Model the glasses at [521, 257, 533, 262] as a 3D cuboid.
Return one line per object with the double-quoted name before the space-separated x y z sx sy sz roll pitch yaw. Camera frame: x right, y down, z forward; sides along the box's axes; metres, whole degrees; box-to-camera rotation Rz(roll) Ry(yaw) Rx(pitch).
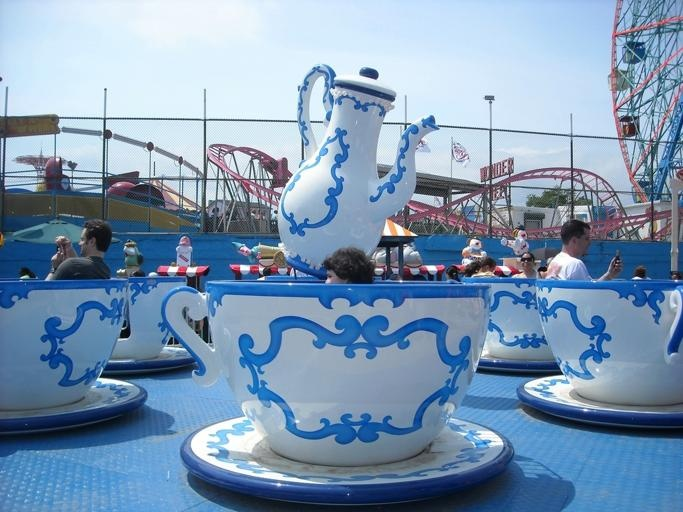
"glasses" 1.711 0.031 6.790 0.102 0.049 0.089 1 6 11
